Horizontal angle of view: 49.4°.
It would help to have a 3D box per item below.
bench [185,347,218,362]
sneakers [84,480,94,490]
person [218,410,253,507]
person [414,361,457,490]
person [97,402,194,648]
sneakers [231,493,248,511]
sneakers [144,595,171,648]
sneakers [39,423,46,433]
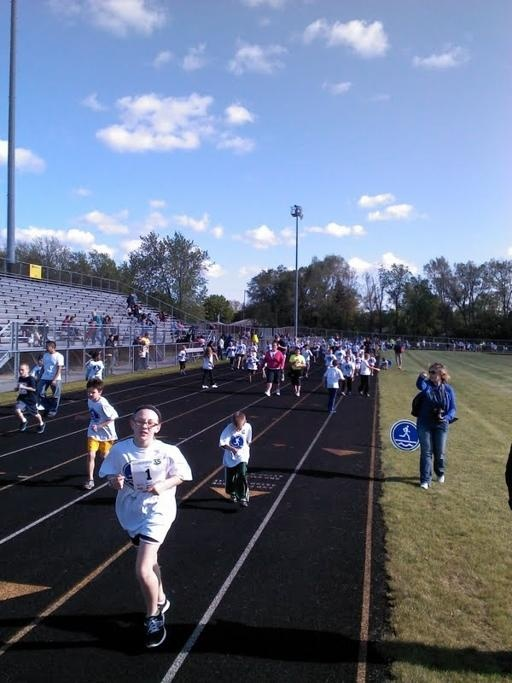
[{"bbox_3d":[-3.540,0.661,35.037,0.888,0.755,2.122,-18,-6,14],"label":"bench"},{"bbox_3d":[-2.397,2.092,8.094,0.084,0.093,0.200,4,0,-9],"label":"sneakers"},{"bbox_3d":[-0.265,1.561,7.393,0.366,1.249,0.578,1,3,-1],"label":"person"},{"bbox_3d":[2.583,1.237,8.085,0.613,1.839,0.535,-1,3,-35],"label":"person"},{"bbox_3d":[-0.800,1.376,4.153,0.647,1.773,0.672,-1,3,-30],"label":"person"},{"bbox_3d":[-0.222,2.129,7.423,0.097,0.128,0.277,16,16,-43],"label":"sneakers"},{"bbox_3d":[-0.737,2.079,4.164,0.129,0.139,0.355,-11,33,19],"label":"sneakers"},{"bbox_3d":[-4.676,1.906,12.231,0.099,0.116,0.272,0,23,0],"label":"sneakers"}]
